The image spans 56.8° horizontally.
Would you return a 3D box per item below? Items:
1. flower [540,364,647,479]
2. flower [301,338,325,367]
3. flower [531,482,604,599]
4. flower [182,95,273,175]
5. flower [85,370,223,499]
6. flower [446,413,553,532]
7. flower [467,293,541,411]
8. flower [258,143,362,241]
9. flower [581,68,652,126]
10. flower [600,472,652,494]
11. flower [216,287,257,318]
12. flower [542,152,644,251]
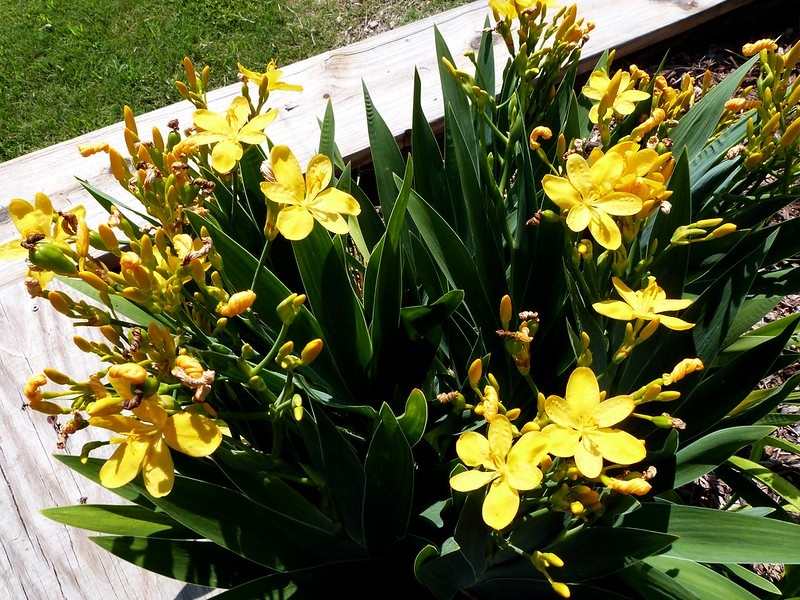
[{"bbox_3d":[0.418,0.276,1.651,0.221,0.091,0.216,16,38,-2],"label":"flower"},{"bbox_3d":[-0.202,0.120,1.672,0.031,0.093,0.033,20,52,-23],"label":"flower"},{"bbox_3d":[0.368,0.570,1.744,0.230,0.259,0.076,-2,10,-27],"label":"flower"},{"bbox_3d":[-0.419,-0.383,1.862,0.200,0.072,0.206,21,69,22],"label":"flower"},{"bbox_3d":[-0.530,0.292,1.608,0.258,0.300,0.107,7,12,10],"label":"flower"},{"bbox_3d":[0.228,0.371,1.623,0.210,0.085,0.246,-23,67,14],"label":"flower"},{"bbox_3d":[0.279,0.154,1.972,0.138,0.303,0.151,27,56,27],"label":"flower"},{"bbox_3d":[-0.232,-0.244,1.754,0.212,0.244,0.069,-38,45,4],"label":"flower"},{"bbox_3d":[0.600,-0.558,2.052,0.157,0.188,0.202,6,85,16],"label":"flower"},{"bbox_3d":[0.528,0.424,1.707,0.113,0.067,0.057,3,87,26],"label":"flower"},{"bbox_3d":[-0.365,0.011,1.644,0.072,0.038,0.062,-27,5,31],"label":"flower"},{"bbox_3d":[0.477,-0.219,1.809,0.217,0.220,0.205,-39,49,-25],"label":"flower"}]
